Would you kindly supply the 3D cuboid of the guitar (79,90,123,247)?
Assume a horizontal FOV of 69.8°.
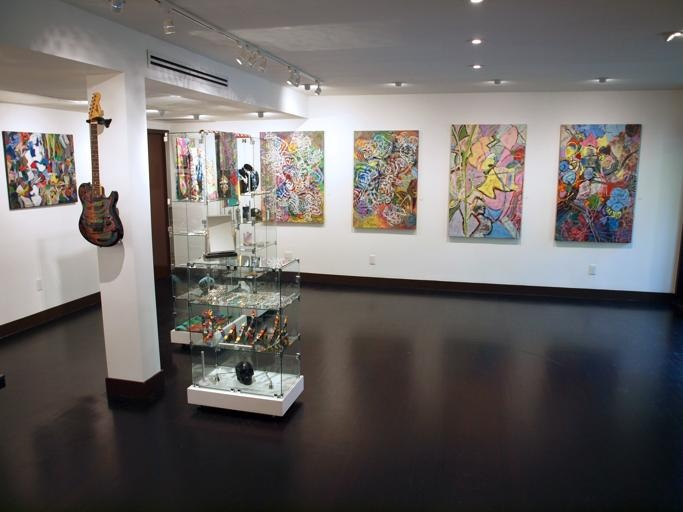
[{"bbox_3d":[-2.621,-0.912,5.286,0.508,1.668,0.359,7,16,24],"label":"guitar"}]
